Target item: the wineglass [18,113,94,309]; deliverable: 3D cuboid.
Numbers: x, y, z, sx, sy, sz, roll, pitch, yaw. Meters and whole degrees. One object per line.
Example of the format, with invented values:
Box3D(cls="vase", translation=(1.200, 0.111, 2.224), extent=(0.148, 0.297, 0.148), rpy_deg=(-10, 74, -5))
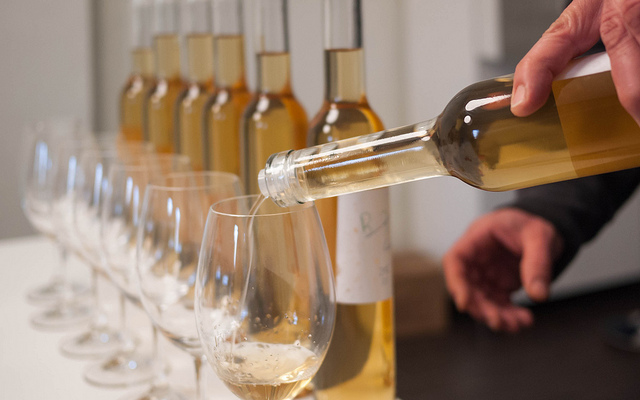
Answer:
Box3D(cls="wineglass", translation=(-0.504, 0.022, 1.424), extent=(0.145, 0.326, 0.129), rpy_deg=(-3, 6, -38))
